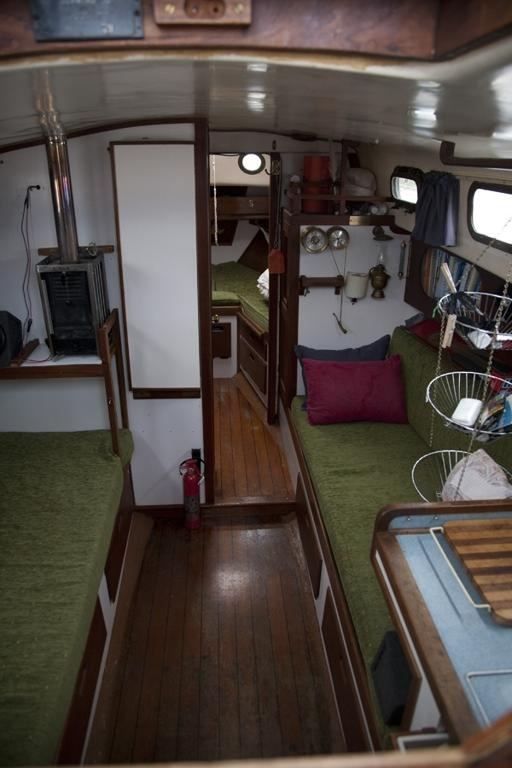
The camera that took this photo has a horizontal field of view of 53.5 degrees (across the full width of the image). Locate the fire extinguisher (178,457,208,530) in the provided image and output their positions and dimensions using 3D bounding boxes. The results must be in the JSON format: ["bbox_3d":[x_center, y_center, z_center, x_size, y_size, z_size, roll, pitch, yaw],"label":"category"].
[{"bbox_3d":[-0.473,0.802,3.808,0.178,0.589,0.197,1,42,-2],"label":"fire extinguisher"}]

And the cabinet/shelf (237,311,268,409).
[{"bbox_3d":[-0.028,-0.256,5.420,0.394,0.630,0.849,0,37,-9],"label":"cabinet/shelf"}]
